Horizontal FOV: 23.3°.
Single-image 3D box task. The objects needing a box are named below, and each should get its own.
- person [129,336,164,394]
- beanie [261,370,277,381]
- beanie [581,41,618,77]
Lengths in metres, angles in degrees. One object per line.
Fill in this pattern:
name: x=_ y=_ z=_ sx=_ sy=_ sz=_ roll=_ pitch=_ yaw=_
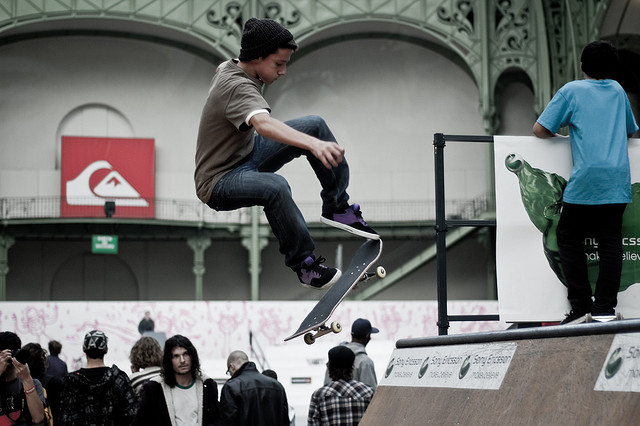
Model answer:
person: x=-4.872 y=4.365 z=44.779 sx=0.843 sy=1.664 sz=1.016 roll=-1 pitch=2 yaw=3
beanie: x=-1.446 y=4.707 z=45.871 sx=0.275 sy=0.361 sz=0.363 roll=0 pitch=18 yaw=8
beanie: x=7.796 y=-4.303 z=43.508 sx=0.879 sy=1.032 sz=1.037 roll=0 pitch=10 yaw=2
